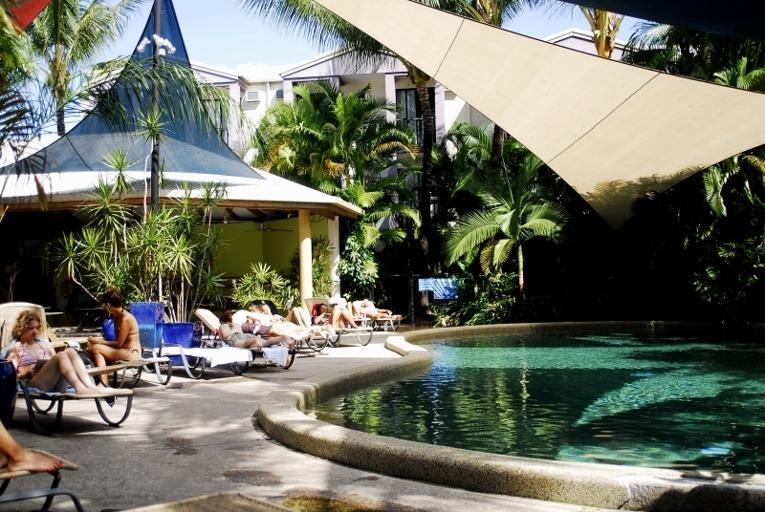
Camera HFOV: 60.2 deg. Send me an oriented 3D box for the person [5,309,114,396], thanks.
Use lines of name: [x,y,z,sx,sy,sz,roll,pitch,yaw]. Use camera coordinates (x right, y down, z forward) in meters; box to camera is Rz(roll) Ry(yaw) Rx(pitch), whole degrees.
person: [-4.007,1.177,8.382,1.735,1.038,0.857,-4,0,36]
